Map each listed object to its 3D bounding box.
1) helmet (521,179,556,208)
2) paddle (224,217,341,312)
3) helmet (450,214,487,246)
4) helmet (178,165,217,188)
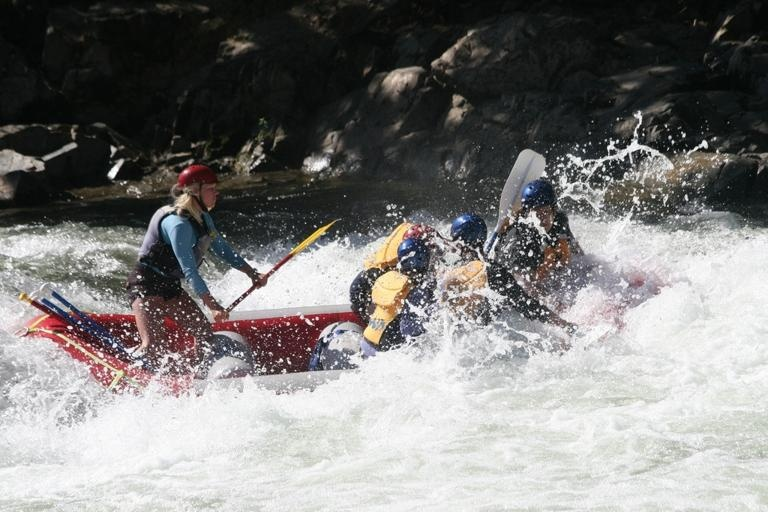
[{"bbox_3d":[2.367,-0.935,16.296,0.450,0.479,0.455,4,-6,21],"label":"helmet"},{"bbox_3d":[-1.770,0.195,19.025,2.569,0.341,0.111,-34,56,2],"label":"paddle"},{"bbox_3d":[1.199,-0.414,15.623,0.489,0.467,0.527,1,29,-4],"label":"helmet"},{"bbox_3d":[-2.679,-1.133,15.464,0.483,0.217,0.324,-8,16,-7],"label":"helmet"}]
